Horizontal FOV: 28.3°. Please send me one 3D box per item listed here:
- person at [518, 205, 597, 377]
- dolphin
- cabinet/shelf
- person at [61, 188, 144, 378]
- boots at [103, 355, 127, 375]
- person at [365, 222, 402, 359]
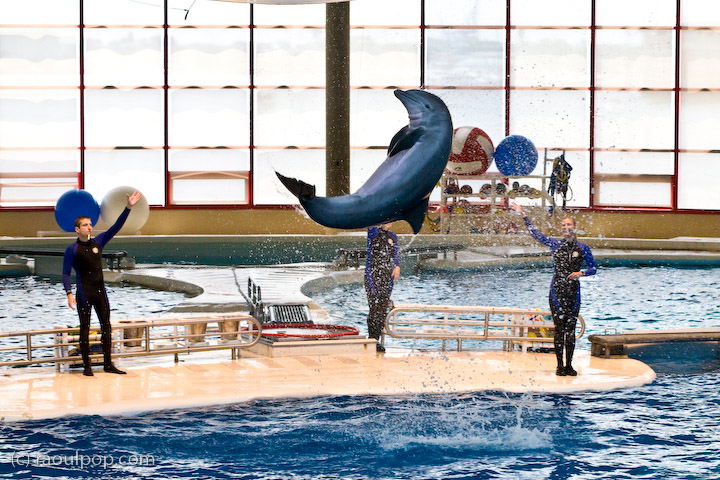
[{"bbox_3d":[3.014,0.805,21.809,1.211,2.584,0.898,-2,-3,16],"label":"person"},{"bbox_3d":[0.281,-0.921,19.383,3.499,2.372,1.510,1,-11,-4],"label":"dolphin"},{"bbox_3d":[3.001,-1.013,33.718,3.219,1.341,0.814,-2,16,27],"label":"cabinet/shelf"},{"bbox_3d":[-4.010,0.760,21.824,1.020,2.326,0.648,-2,-1,-10],"label":"person"},{"bbox_3d":[-3.702,1.909,21.818,0.455,0.359,0.203,1,1,-10],"label":"boots"},{"bbox_3d":[0.336,0.762,22.586,0.547,1.855,0.666,-2,-1,3],"label":"person"}]
